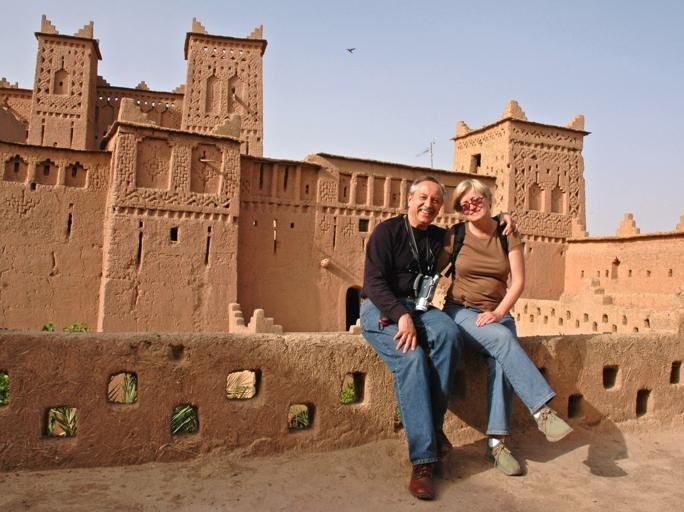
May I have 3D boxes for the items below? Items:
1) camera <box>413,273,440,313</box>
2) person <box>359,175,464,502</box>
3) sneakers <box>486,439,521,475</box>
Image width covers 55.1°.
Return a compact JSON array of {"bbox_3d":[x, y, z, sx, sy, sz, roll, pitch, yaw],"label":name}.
[{"bbox_3d":[0.823,0.343,6.358,0.258,0.383,0.157,13,-21,8],"label":"camera"},{"bbox_3d":[0.701,0.646,6.155,0.717,2.247,0.996,3,-1,-39],"label":"person"},{"bbox_3d":[1.489,1.832,6.057,0.177,0.159,0.365,-10,16,-20],"label":"sneakers"}]
